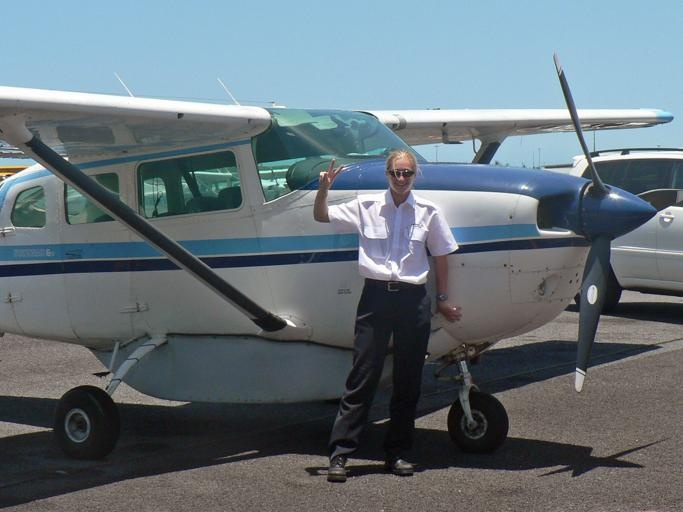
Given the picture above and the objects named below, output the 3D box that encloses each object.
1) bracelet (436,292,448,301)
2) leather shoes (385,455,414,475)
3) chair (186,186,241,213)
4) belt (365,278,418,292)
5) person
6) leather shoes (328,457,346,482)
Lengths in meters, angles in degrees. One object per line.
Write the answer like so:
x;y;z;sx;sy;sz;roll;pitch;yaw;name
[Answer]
0.725;0.294;5.538;0.081;0.035;0.069;-10;-5;31;bracelet
0.410;1.495;5.460;0.102;0.072;0.230;4;-9;-37;leather shoes
-1.030;-0.448;6.185;0.384;0.157;0.241;0;-1;17;chair
0.352;0.206;5.428;0.388;0.088;0.080;-2;14;11;belt
0.252;0.467;5.429;0.753;2.168;0.981;3;18;36;person
-0.041;1.487;5.389;0.137;0.166;0.119;-5;14;5;leather shoes
